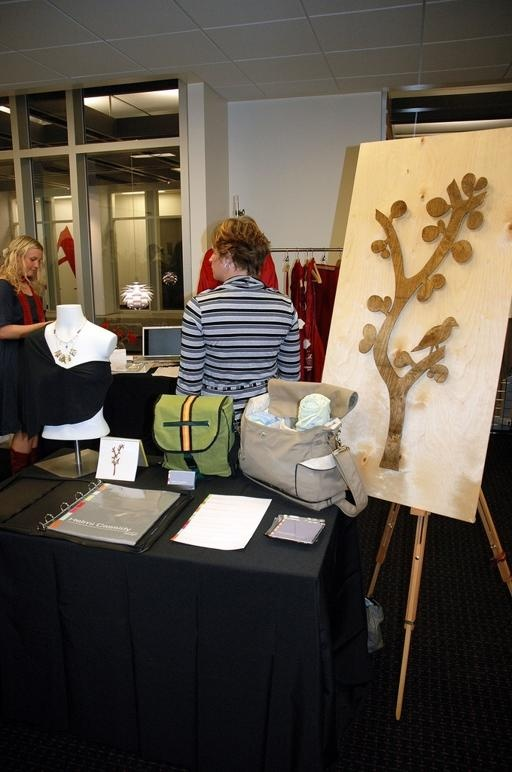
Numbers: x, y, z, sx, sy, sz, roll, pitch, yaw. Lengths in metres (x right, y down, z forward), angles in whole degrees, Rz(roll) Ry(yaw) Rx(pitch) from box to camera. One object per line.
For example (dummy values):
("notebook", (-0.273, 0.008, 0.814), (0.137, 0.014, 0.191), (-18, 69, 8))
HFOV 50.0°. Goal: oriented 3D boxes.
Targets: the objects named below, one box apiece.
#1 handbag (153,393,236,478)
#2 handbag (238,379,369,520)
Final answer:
("handbag", (-0.147, 0.123, 1.664), (0.270, 0.268, 0.209), (3, 11, 11))
("handbag", (0.133, 0.186, 1.538), (0.202, 0.264, 0.364), (-18, 24, -40))
